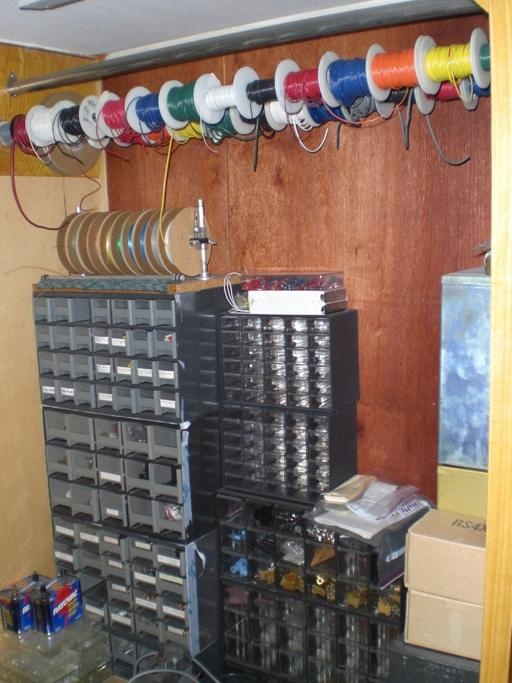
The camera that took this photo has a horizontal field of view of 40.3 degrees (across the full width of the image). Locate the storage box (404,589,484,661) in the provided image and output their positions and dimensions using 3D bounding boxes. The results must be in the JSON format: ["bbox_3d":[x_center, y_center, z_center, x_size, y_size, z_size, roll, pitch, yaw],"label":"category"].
[{"bbox_3d":[0.535,0.764,1.895,0.220,0.138,0.120,3,-9,29],"label":"storage box"}]

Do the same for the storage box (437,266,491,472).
[{"bbox_3d":[0.551,0.077,1.849,0.128,0.543,0.233,0,2,14],"label":"storage box"}]

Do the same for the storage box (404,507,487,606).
[{"bbox_3d":[0.535,0.562,1.893,0.228,0.208,0.161,2,1,36],"label":"storage box"}]
